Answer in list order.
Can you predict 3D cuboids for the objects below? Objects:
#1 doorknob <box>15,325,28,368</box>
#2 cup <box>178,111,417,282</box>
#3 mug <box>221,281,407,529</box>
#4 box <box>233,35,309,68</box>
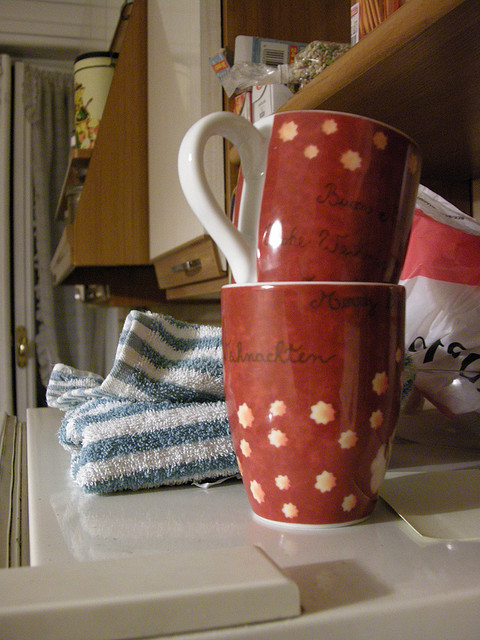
[{"bbox_3d":[-0.840,0.103,2.474,0.046,0.162,0.028,-4,9,-21],"label":"doorknob"},{"bbox_3d":[0.028,-0.053,0.344,0.105,0.091,0.072,1,1,-24],"label":"cup"},{"bbox_3d":[0.040,0.038,0.330,0.087,0.124,0.096,3,0,8],"label":"mug"},{"bbox_3d":[0.034,-0.304,0.720,0.081,0.037,0.044,0,9,0],"label":"box"}]
